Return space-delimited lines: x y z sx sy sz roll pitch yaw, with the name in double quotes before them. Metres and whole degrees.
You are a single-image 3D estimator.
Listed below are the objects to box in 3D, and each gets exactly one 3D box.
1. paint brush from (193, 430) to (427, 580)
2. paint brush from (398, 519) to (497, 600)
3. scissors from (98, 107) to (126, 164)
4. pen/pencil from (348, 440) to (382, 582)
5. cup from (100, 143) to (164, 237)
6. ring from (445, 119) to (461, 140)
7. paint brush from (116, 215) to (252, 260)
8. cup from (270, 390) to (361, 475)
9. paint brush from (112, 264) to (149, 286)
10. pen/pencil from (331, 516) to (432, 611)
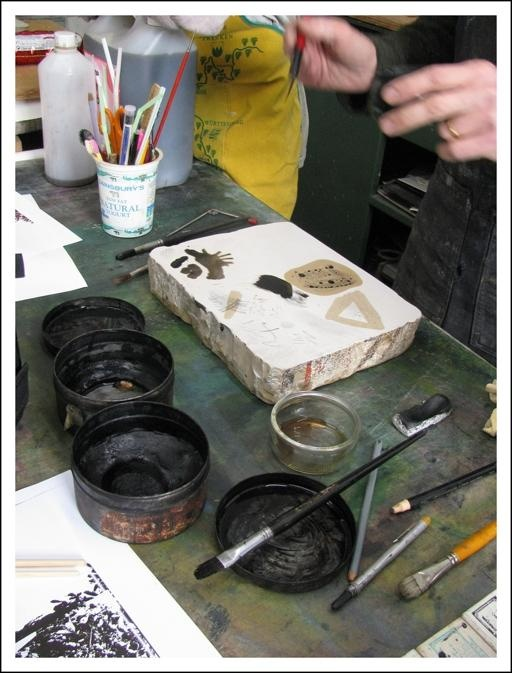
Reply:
"paint brush" 0.056 0.183 0.579 0.294 0.021 0.016 -27 27 -26
"paint brush" 0.189 0.224 0.543 0.169 0.018 0.025 -17 29 -41
"scissors" -0.241 -0.345 0.943 0.029 0.088 0.048 -2 27 -13
"pen/pencil" 0.115 0.190 0.581 0.015 0.014 0.194 31 37 -2
"cup" -0.245 -0.266 1.032 0.131 0.141 0.118 22 34 20
"ring" 0.254 -0.265 0.708 0.006 0.022 0.016 -41 21 -23
"paint brush" -0.124 -0.192 1.044 0.333 0.026 0.023 -22 4 -36
"cup" 0.072 0.115 0.665 0.097 0.044 0.106 7 33 -5
"paint brush" -0.217 -0.105 0.948 0.060 0.013 0.021 -28 9 -37
"pen/pencil" 0.129 0.217 0.546 0.171 0.018 0.020 -20 45 -41
